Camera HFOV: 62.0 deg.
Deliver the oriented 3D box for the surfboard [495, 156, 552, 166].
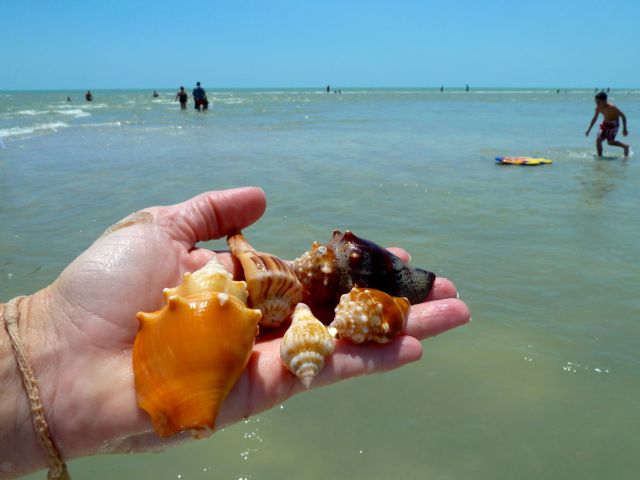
[{"bbox_3d":[4.884,-1.957,13.243,1.262,0.155,0.678,2,21,13],"label":"surfboard"}]
